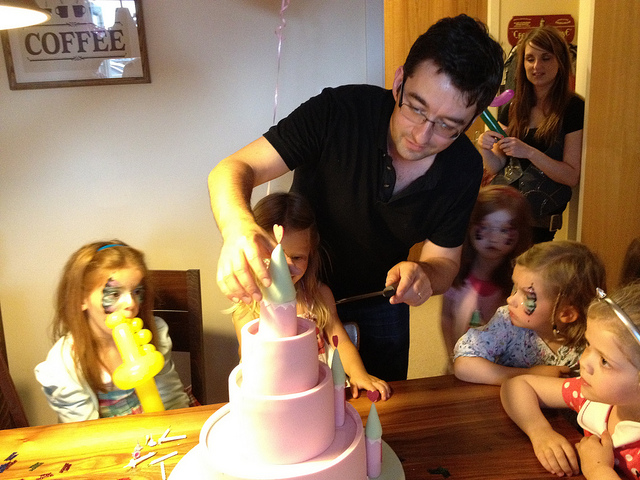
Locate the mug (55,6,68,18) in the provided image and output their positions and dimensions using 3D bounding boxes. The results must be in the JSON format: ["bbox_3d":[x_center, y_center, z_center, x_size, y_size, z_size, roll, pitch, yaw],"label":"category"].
[{"bbox_3d":[-1.269,-1.122,2.410,0.050,0.063,0.037,2,14,-7],"label":"mug"}]

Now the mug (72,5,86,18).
[{"bbox_3d":[-1.189,-1.128,2.419,0.055,0.066,0.038,-1,4,-10],"label":"mug"}]

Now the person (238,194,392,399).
[{"bbox_3d":[0.014,0.269,1.841,0.301,1.174,0.333,-18,18,-22],"label":"person"}]

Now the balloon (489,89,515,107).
[{"bbox_3d":[0.720,-0.558,1.925,0.066,0.057,0.203,0,14,23],"label":"balloon"}]

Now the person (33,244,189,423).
[{"bbox_3d":[-0.842,0.495,2.022,0.523,0.951,0.608,-6,30,-29],"label":"person"}]

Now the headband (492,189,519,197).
[{"bbox_3d":[0.857,-0.215,2.248,0.091,0.039,0.021,0,13,24],"label":"headband"}]

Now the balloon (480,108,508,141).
[{"bbox_3d":[0.847,-0.567,2.433,0.106,0.160,0.251,6,17,40],"label":"balloon"}]

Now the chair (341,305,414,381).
[{"bbox_3d":[0.224,0.417,2.014,0.271,0.441,0.225,-7,4,3],"label":"chair"}]

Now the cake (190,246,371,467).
[{"bbox_3d":[-0.096,0.298,1.217,0.439,0.523,0.444,-3,8,-20],"label":"cake"}]
